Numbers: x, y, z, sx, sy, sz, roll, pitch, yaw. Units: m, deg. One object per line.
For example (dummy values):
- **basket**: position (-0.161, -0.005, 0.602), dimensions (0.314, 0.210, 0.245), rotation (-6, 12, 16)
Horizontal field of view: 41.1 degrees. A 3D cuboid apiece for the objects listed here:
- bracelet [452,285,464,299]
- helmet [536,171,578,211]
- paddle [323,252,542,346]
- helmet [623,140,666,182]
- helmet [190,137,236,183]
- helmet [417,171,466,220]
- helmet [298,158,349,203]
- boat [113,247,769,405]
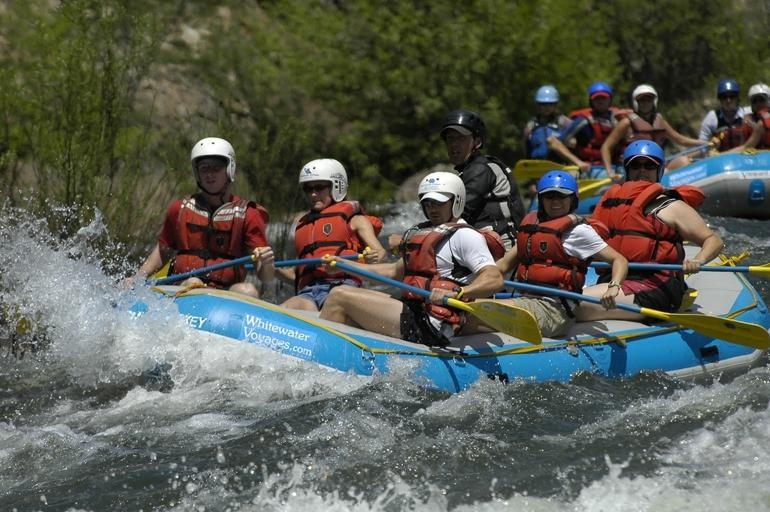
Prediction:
- **bracelet**: position (0.745, 0.366, 10.560), dimensions (0.087, 0.090, 0.233), rotation (1, -15, 5)
- **helmet**: position (1.891, -0.754, 11.189), dimensions (0.343, 0.351, 0.476), rotation (2, 14, 13)
- **paddle**: position (0.556, 0.469, 10.797), dimensions (2.995, 0.419, 0.330), rotation (10, 36, 14)
- **helmet**: position (2.956, -1.178, 11.839), dimensions (0.412, 0.507, 0.499), rotation (2, 34, 12)
- **helmet**: position (-1.966, -1.121, 11.843), dimensions (0.417, 0.435, 0.556), rotation (-5, -2, 5)
- **helmet**: position (0.597, -0.653, 10.880), dimensions (0.395, 0.418, 0.540), rotation (-6, -1, 28)
- **helmet**: position (-0.734, -0.883, 12.006), dimensions (0.420, 0.433, 0.576), rotation (-8, 2, 38)
- **boat**: position (0.865, 0.953, 11.012), dimensions (4.642, 0.775, 2.462), rotation (14, 2, -12)
